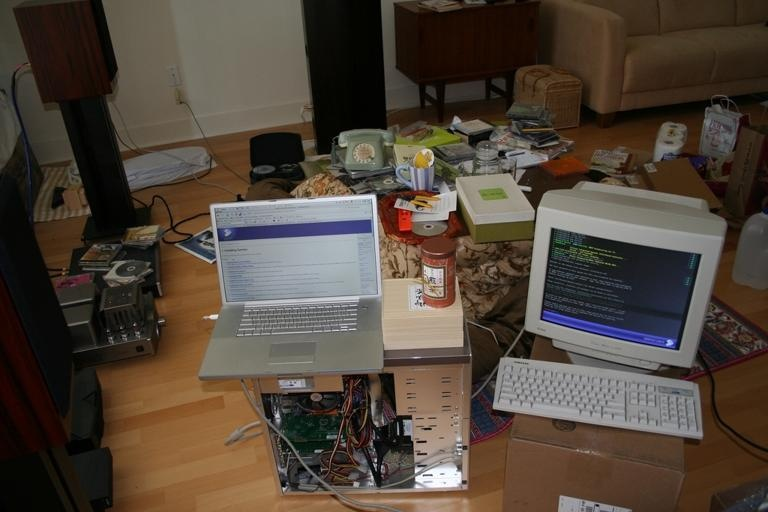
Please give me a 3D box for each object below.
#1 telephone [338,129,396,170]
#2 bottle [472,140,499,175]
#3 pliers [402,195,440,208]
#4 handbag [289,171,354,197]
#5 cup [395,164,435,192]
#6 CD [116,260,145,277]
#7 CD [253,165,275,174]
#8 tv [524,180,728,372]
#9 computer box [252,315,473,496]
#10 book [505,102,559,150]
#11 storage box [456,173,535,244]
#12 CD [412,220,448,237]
[{"bbox_3d":[-0.104,-0.648,3.662,0.435,0.210,0.225,2,39,6],"label":"telephone"},{"bbox_3d":[0.565,-0.536,3.406,0.154,0.155,0.167,8,32,22],"label":"bottle"},{"bbox_3d":[0.194,-0.276,3.122,0.163,0.045,0.074,-3,29,4],"label":"pliers"},{"bbox_3d":[-0.371,-0.429,3.692,0.299,0.088,0.265,-20,36,-22],"label":"handbag"},{"bbox_3d":[0.159,-0.421,3.321,0.220,0.198,0.139,-4,41,5],"label":"cup"},{"bbox_3d":[-1.497,0.077,3.634,0.177,0.032,0.141,-3,29,4],"label":"CD"},{"bbox_3d":[-0.847,-0.601,4.334,0.144,0.017,0.148,-21,33,-27],"label":"CD"},{"bbox_3d":[1.039,0.055,2.704,0.733,0.736,0.576,10,35,23],"label":"tv"},{"bbox_3d":[-0.078,0.593,2.497,0.702,0.567,0.389,-2,40,2],"label":"computer box"},{"bbox_3d":[1.059,-0.937,4.425,0.289,0.126,0.381,-9,37,-16],"label":"book"},{"bbox_3d":[0.548,-0.238,3.111,0.323,0.244,0.342,-6,29,-1],"label":"storage box"},{"bbox_3d":[0.224,-0.134,3.024,0.174,0.025,0.134,-2,29,6],"label":"CD"}]
